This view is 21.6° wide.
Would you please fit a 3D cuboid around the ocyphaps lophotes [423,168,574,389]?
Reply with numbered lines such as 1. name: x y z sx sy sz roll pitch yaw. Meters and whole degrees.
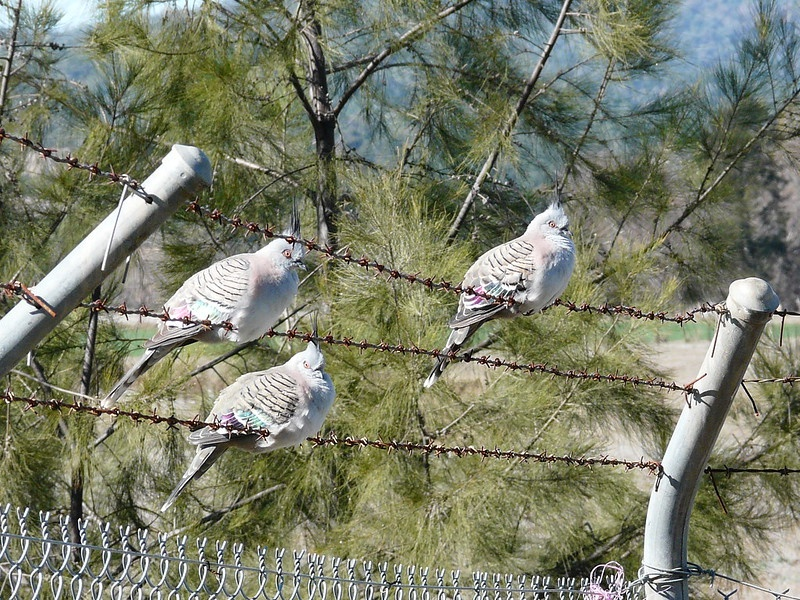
1. ocyphaps lophotes: 0.501 -0.068 10.631 0.934 0.507 0.484 -25 -4 21

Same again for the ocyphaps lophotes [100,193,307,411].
1. ocyphaps lophotes: -0.930 0.060 10.206 1.025 0.745 0.376 -4 -1 9

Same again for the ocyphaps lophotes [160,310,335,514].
1. ocyphaps lophotes: -0.639 0.516 10.207 0.969 0.720 0.562 -30 0 -3
